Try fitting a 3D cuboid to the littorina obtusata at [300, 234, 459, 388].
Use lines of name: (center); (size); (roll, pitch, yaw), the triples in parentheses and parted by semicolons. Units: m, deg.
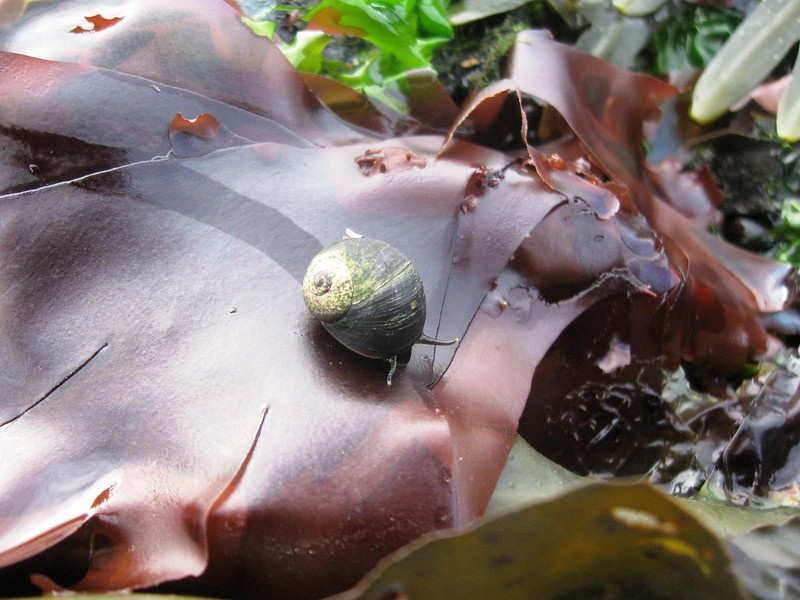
littorina obtusata: (-0.045, 0.035, 1.067); (0.204, 0.091, 0.185); (24, 53, -10)
